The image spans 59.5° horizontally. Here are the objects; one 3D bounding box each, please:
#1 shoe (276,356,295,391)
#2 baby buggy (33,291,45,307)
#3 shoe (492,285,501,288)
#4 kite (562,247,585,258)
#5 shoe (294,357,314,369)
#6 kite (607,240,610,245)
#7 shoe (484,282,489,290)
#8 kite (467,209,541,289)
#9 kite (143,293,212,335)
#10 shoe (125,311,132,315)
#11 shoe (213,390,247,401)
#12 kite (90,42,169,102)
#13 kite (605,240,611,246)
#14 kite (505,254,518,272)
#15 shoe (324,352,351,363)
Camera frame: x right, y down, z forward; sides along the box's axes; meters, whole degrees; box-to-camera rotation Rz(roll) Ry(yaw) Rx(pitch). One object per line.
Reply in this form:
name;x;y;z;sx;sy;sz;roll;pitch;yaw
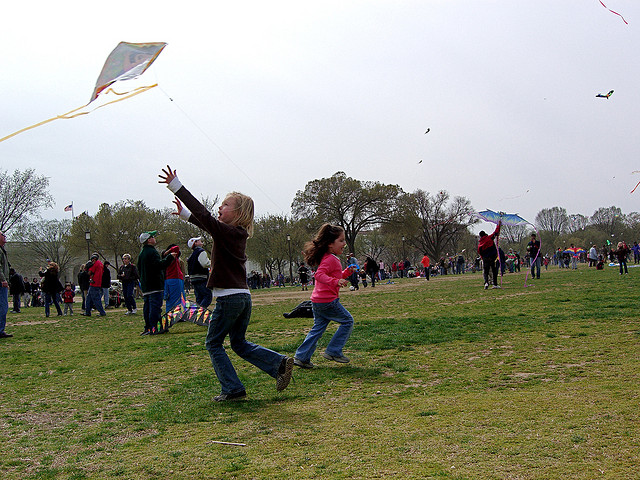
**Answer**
shoe;-0.408;1.556;6.679;0.181;0.437;0.157;6;-3;42
baby buggy;-15.339;3.200;30.447;0.501;0.692;1.610;-5;3;-28
shoe;5.961;1.586;18.905;0.120;0.164;0.362;-3;-6;41
kite;22.433;1.124;49.347;1.672;1.372;0.213;2;-5;-14
shoe;-0.231;1.738;7.902;0.285;0.153;0.118;6;-4;-14
kite;30.706;0.273;59.578;0.192;0.627;0.210;-19;-27;36
shoe;5.482;1.541;18.397;0.076;0.166;0.153;-2;17;6
kite;6.190;0.226;18.372;2.082;2.879;0.189;-7;21;28
kite;-3.040;1.539;12.310;1.462;0.536;1.486;-11;-15;40
shoe;-6.203;2.356;18.110;0.213;0.117;0.571;-5;3;-27
shoe;-1.033;1.831;6.545;0.400;0.185;0.141;4;-12;-6
kite;-3.173;-2.832;9.187;1.143;1.077;0.944;-5;3;-33
kite;32.704;0.305;63.558;0.230;0.788;0.773;-5;-38;12
kite;14.869;1.756;43.372;0.661;1.825;1.225;10;10;40
shoe;0.239;1.700;8.042;0.337;0.180;0.129;3;-3;9
